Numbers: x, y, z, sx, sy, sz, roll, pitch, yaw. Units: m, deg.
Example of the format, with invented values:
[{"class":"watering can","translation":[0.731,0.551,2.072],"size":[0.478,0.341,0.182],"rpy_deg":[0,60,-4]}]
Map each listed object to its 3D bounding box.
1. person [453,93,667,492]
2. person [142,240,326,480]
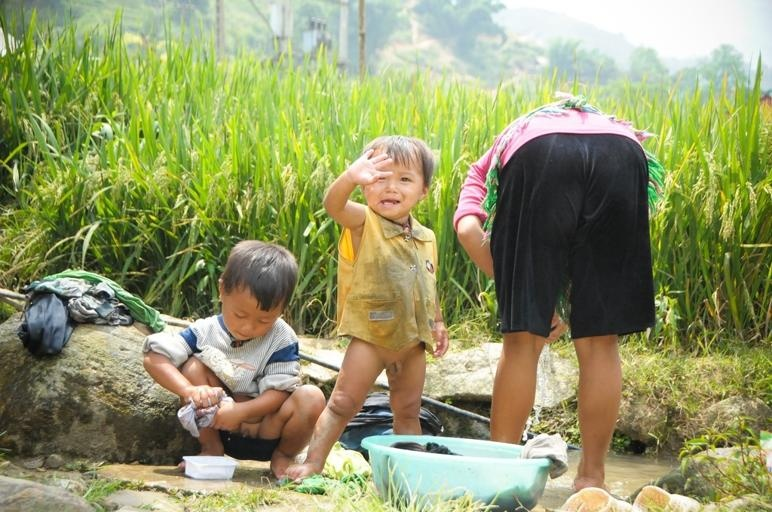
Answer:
[{"class":"person","translation":[0.841,0.152,3.404],"size":[0.949,1.946,0.390],"rpy_deg":[5,1,2]},{"class":"person","translation":[-0.839,0.529,3.551],"size":[0.855,1.213,0.690],"rpy_deg":[3,5,-33]}]
